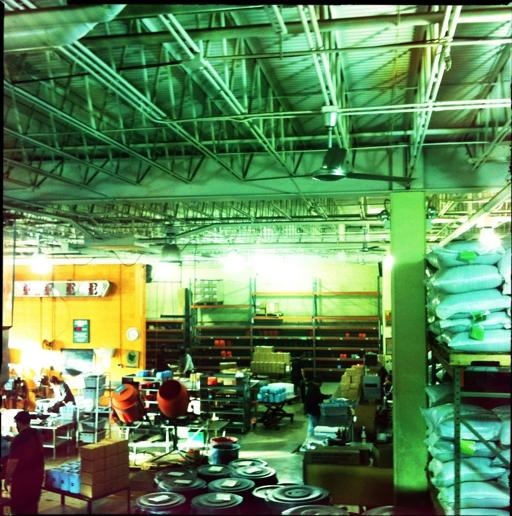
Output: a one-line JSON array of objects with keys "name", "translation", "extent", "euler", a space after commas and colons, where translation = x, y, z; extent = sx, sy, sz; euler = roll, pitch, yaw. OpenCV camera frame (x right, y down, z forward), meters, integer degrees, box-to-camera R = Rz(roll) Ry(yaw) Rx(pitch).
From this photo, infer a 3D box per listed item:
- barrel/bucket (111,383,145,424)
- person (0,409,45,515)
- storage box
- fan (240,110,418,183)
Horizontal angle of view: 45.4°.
[{"name": "barrel/bucket", "translation": [-2.021, 2.255, 9.442], "extent": [0.456, 0.599, 0.468], "euler": [-2, -6, 0]}, {"name": "person", "translation": [-2.502, 2.224, 6.550], "extent": [0.399, 1.141, 0.530], "euler": [0, -7, -21]}, {"name": "storage box", "translation": [-1.922, 2.598, 7.588], "extent": [0.362, 0.647, 0.690], "euler": [-4, -6, 16]}, {"name": "fan", "translation": [0.744, -0.939, 6.347], "extent": [1.315, 0.684, 1.170], "euler": [-1, 6, -34]}]
